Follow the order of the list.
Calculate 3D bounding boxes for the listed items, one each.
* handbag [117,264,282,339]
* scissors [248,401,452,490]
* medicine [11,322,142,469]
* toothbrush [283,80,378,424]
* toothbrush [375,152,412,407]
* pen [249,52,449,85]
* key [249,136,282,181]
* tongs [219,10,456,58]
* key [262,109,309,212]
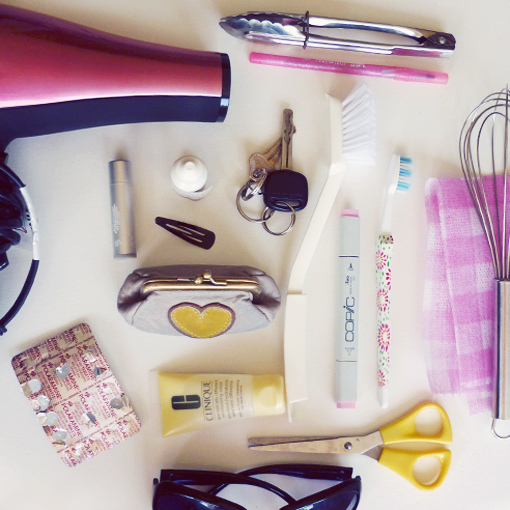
[{"bbox_3d":[-0.069,0.066,0.754,0.217,0.101,0.085,-3,6,-12],"label":"handbag"},{"bbox_3d":[0.141,0.266,0.793,0.346,0.120,0.024,9,-24,-27],"label":"scissors"},{"bbox_3d":[-0.246,0.185,0.783,0.150,0.199,0.029,-31,3,-11],"label":"medicine"},{"bbox_3d":[0.107,-0.001,0.815,0.163,0.476,0.051,-5,6,-19],"label":"toothbrush"},{"bbox_3d":[0.193,0.036,0.820,0.066,0.358,0.036,-8,8,-43],"label":"toothbrush"},{"bbox_3d":[0.120,-0.265,0.812,0.364,0.024,0.026,4,-18,-3],"label":"pen"},{"bbox_3d":[0.015,-0.135,0.812,0.033,0.076,0.013,44,-4,0],"label":"key"},{"bbox_3d":[0.119,-0.312,0.791,0.334,0.069,0.054,-2,6,-5],"label":"tongs"},{"bbox_3d":[0.041,-0.134,0.798,0.063,0.146,0.056,-2,6,5],"label":"key"}]
